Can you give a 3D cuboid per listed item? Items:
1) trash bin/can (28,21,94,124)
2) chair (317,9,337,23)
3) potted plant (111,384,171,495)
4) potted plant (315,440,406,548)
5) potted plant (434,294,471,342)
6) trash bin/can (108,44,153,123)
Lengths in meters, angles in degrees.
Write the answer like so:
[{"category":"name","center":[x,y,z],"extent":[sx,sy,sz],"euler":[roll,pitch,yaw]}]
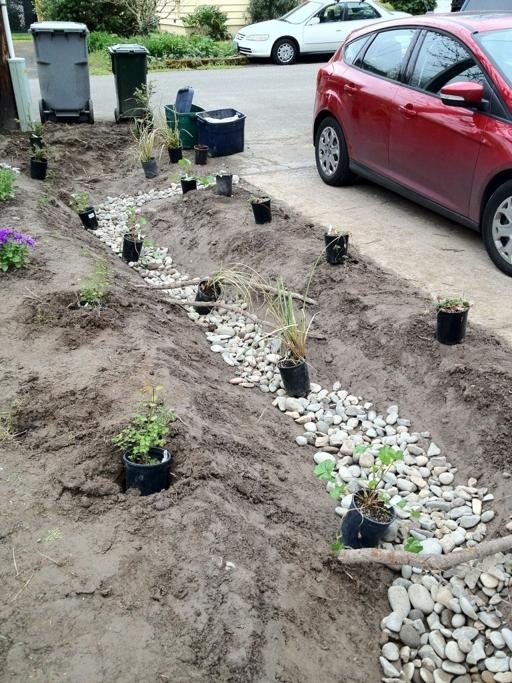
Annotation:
[{"category":"trash bin/can","center":[-3.221,-4.429,9.072],"extent":[0.908,1.493,0.435],"euler":[-9,30,-19]},{"category":"chair","center":[1.967,-8.970,14.936],"extent":[0.239,0.293,0.301],"euler":[4,17,0]},{"category":"potted plant","center":[-0.555,0.487,2.646],"extent":[0.244,0.514,0.322],"euler":[12,13,37]},{"category":"potted plant","center":[0.558,0.824,2.867],"extent":[0.346,0.440,0.370],"euler":[24,31,28]},{"category":"potted plant","center":[1.293,-0.123,3.632],"extent":[0.270,0.282,0.200],"euler":[-24,36,-23]},{"category":"trash bin/can","center":[-2.179,-4.450,9.448],"extent":[0.633,1.232,0.533],"euler":[-5,29,-12]}]
